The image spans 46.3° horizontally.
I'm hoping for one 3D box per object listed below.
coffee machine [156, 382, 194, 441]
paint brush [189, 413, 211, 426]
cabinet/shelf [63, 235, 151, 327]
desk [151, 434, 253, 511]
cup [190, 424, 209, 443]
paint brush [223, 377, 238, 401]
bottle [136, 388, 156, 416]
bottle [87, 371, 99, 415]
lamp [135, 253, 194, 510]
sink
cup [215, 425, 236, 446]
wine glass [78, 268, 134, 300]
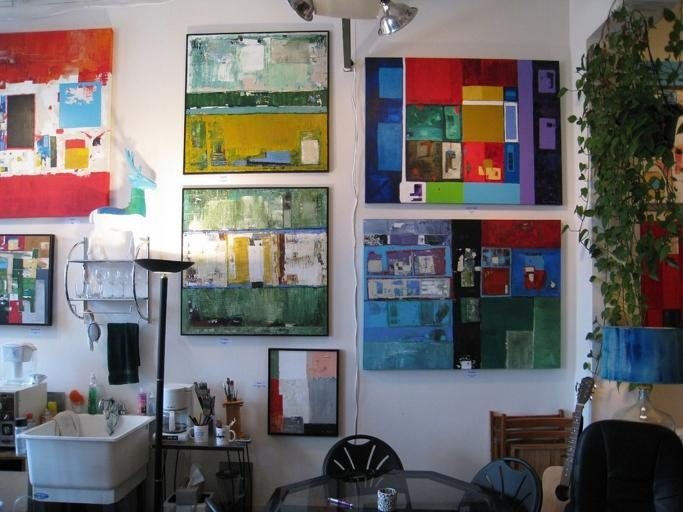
[{"bbox_3d":[-1.266,1.192,6.088,0.260,0.409,0.367,-1,0,7],"label":"coffee machine"},{"bbox_3d":[-1.068,1.216,5.991,0.140,0.158,0.089,2,-4,-10],"label":"paint brush"},{"bbox_3d":[-1.791,0.212,6.181,0.571,0.861,0.342,0,6,-1],"label":"cabinet/shelf"},{"bbox_3d":[-1.021,1.776,5.961,0.740,0.837,0.592,0,-13,-1],"label":"desk"},{"bbox_3d":[-1.049,1.321,5.886,0.119,0.107,0.083,-1,-2,20],"label":"cup"},{"bbox_3d":[-0.849,1.019,6.094,0.118,0.175,0.168,-1,-3,-5],"label":"paint brush"},{"bbox_3d":[-1.505,1.130,6.135,0.169,0.278,0.086,1,-2,-3],"label":"bottle"},{"bbox_3d":[-1.929,1.063,6.173,0.074,0.294,0.107,0,-3,-18],"label":"bottle"},{"bbox_3d":[-1.316,0.963,5.927,0.393,1.907,0.472,0,-3,-14],"label":"lamp"},{"bbox_3d":[-1.803,1.476,5.648,0.546,0.393,0.758,1,0,4],"label":"sink"},{"bbox_3d":[-0.867,1.323,5.946,0.141,0.127,0.094,0,-8,-6],"label":"cup"},{"bbox_3d":[-1.812,0.202,6.194,0.372,0.248,0.123,-1,-3,-14],"label":"wine glass"}]
